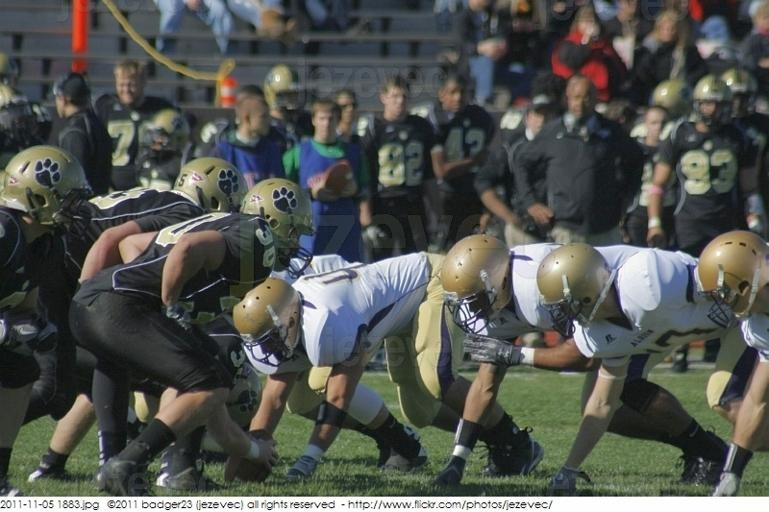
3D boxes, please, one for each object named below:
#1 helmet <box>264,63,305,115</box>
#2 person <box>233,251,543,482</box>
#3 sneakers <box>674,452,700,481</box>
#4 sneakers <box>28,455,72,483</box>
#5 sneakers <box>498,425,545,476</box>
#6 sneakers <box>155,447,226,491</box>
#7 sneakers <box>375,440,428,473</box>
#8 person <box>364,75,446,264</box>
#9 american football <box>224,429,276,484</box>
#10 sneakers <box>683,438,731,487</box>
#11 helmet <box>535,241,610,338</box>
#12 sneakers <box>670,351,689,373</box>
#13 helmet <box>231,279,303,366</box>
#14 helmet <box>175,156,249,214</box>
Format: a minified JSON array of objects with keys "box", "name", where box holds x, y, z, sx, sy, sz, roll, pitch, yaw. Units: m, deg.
[{"box":[-0.791,-1.285,11.933,0.271,0.376,0.366,-3,27,-10],"name":"helmet"},{"box":[0.005,0.709,10.489,2.120,1.398,0.837,-5,1,-30],"name":"person"},{"box":[2.007,1.384,10.348,0.139,0.261,0.219,4,-2,10],"name":"sneakers"},{"box":[-2.148,1.366,10.166,0.326,0.245,0.122,3,-2,-7],"name":"sneakers"},{"box":[0.928,1.283,10.417,0.137,0.193,0.421,4,21,26],"name":"sneakers"},{"box":[-1.253,1.342,10.006,0.185,0.226,0.519,4,0,18],"name":"sneakers"},{"box":[0.131,1.325,10.399,0.249,0.170,0.104,-10,-33,-3],"name":"sneakers"},{"box":[0.101,-0.642,11.727,0.571,1.383,0.285,5,7,-2],"name":"person"},{"box":[-0.837,1.323,9.979,0.292,0.312,0.126,-1,-25,13],"name":"american football"},{"box":[2.099,1.336,10.164,0.193,0.266,0.151,15,-12,31],"name":"sneakers"},{"box":[1.156,0.159,10.047,0.500,0.520,0.389,-32,12,-1],"name":"helmet"},{"box":[2.361,0.826,12.432,0.152,0.236,0.158,-1,1,14],"name":"sneakers"},{"box":[-0.730,0.400,9.861,0.299,0.372,0.331,23,-17,38],"name":"helmet"},{"box":[-1.169,-0.502,10.576,0.426,0.402,0.326,-19,26,-23],"name":"helmet"}]
